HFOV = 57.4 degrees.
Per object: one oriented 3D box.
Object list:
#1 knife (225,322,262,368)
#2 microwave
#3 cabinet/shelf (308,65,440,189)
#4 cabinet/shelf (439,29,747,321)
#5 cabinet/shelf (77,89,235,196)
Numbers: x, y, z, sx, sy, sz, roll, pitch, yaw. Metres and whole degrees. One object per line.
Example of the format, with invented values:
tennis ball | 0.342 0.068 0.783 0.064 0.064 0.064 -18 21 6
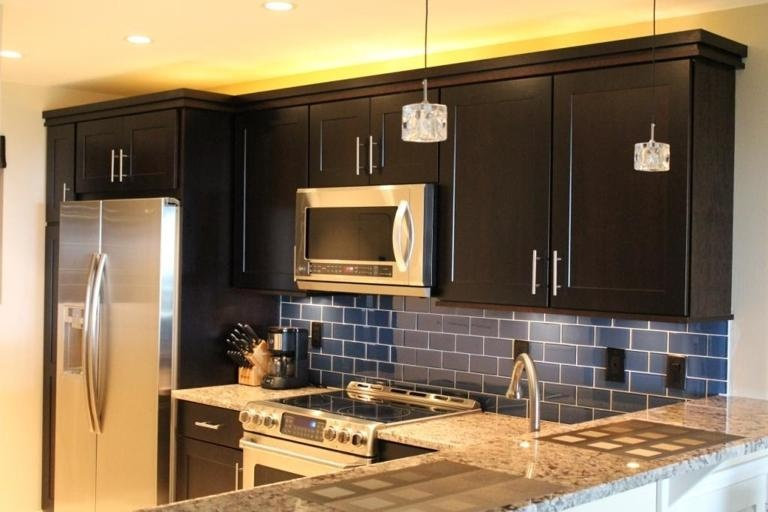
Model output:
knife | -0.939 0.582 4.619 0.170 0.074 0.336 23 30 -26
microwave | -0.066 -0.086 4.235 0.983 0.612 0.519 1 3 37
cabinet/shelf | 0.002 -0.652 4.196 0.861 0.498 0.294 1 3 41
cabinet/shelf | 1.043 -0.393 3.854 1.599 1.314 0.652 4 6 45
cabinet/shelf | -1.675 -0.678 4.909 1.264 0.726 0.375 2 2 35
